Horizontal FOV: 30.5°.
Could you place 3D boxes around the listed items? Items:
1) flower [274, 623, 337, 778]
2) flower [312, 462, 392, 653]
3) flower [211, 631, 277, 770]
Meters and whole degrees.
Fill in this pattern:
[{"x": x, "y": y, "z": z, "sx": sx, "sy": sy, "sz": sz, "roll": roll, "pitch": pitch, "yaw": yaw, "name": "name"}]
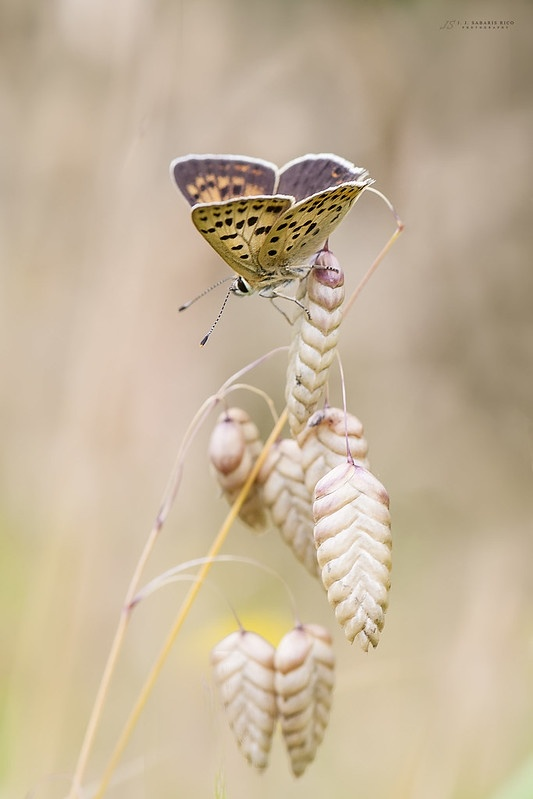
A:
[{"x": 0.080, "y": 0.626, "z": 2.055, "sx": 0.150, "sy": 0.115, "sz": 0.329, "roll": -21, "pitch": -57, "yaw": -38, "name": "flower"}, {"x": 0.161, "y": 0.305, "z": 1.872, "sx": 0.150, "sy": 0.409, "sz": 0.138, "roll": 6, "pitch": -37, "yaw": -6, "name": "flower"}, {"x": -0.025, "y": 0.612, "z": 2.003, "sx": 0.150, "sy": 0.243, "sz": 0.064, "roll": -15, "pitch": -7, "yaw": 32, "name": "flower"}]
